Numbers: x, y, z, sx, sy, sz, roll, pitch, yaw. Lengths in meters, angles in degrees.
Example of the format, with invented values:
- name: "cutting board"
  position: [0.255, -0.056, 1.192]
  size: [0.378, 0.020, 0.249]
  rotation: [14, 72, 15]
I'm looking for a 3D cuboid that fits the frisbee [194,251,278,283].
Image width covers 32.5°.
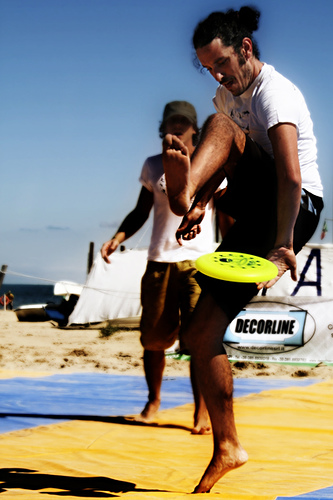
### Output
- name: "frisbee"
  position: [0.253, 0.061, 2.071]
  size: [0.281, 0.114, 0.203]
  rotation: [1, -3, 26]

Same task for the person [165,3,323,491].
- name: "person"
  position: [0.323, -0.031, 2.265]
  size: [0.549, 2.012, 0.744]
  rotation: [3, -3, 13]
